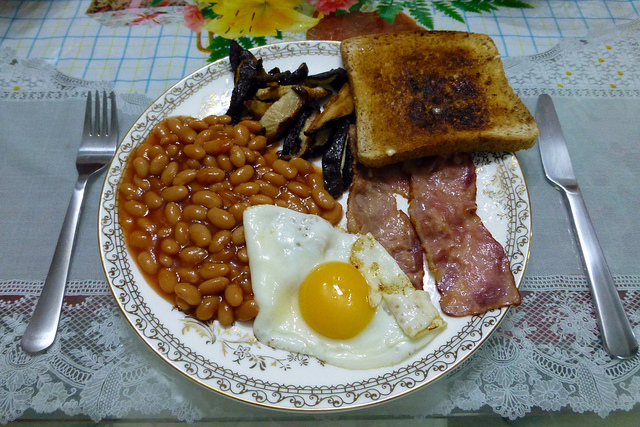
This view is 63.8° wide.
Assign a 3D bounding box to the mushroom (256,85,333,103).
[{"bbox_3d":[-0.225,-0.900,3.863,0.509,0.112,0.137,3,73,-8],"label":"mushroom"}]

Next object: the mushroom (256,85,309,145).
[{"bbox_3d":[-0.246,-0.771,3.885,0.393,0.395,0.240,19,35,34],"label":"mushroom"}]

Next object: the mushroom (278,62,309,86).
[{"bbox_3d":[-0.206,-1.054,3.926,0.203,0.045,0.154,-44,56,0],"label":"mushroom"}]
